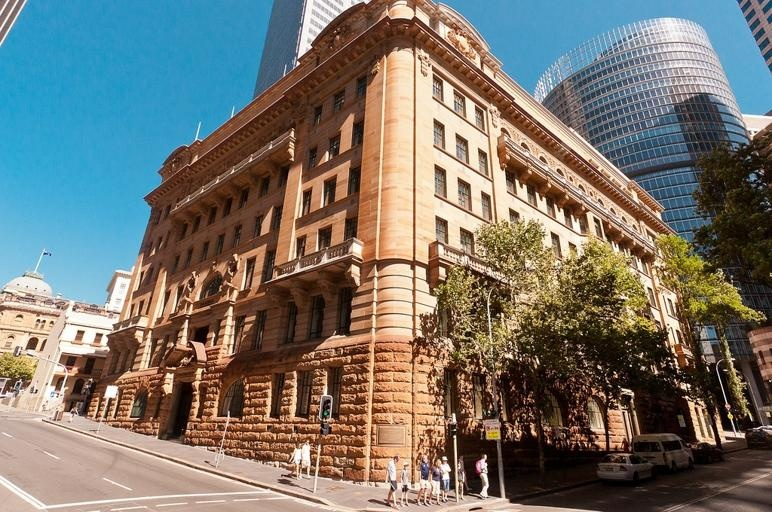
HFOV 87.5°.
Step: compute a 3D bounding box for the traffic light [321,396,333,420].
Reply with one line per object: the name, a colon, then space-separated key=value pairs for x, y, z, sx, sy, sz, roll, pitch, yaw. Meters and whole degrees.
traffic light: x=-3.987 y=9.845 z=26.133 sx=0.659 sy=1.522 sz=0.513 roll=1 pitch=-27 yaw=0
